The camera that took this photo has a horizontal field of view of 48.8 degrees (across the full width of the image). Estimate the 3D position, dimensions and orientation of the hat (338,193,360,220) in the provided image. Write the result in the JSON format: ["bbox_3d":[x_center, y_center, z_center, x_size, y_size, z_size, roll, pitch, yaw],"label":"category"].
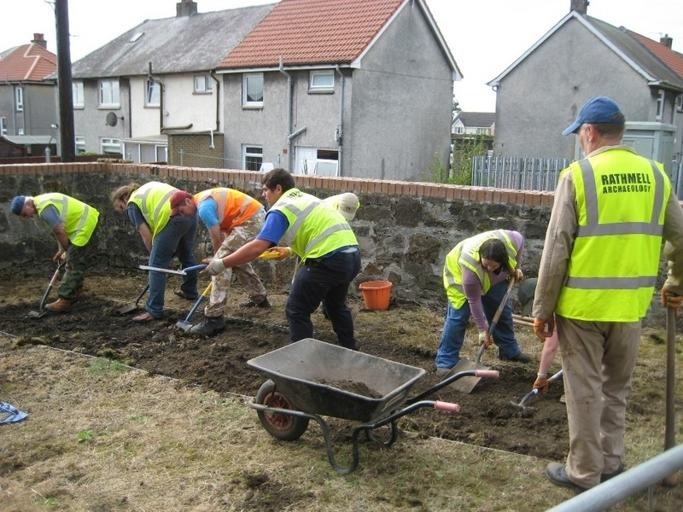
[{"bbox_3d":[0.078,-0.578,8.509,0.273,0.278,0.219,-2,9,-10],"label":"hat"}]

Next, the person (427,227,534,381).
[{"bbox_3d":[1.406,0.501,7.394,0.809,1.433,0.887,-18,32,-21],"label":"person"}]

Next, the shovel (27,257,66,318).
[{"bbox_3d":[-3.529,0.222,9.319,0.382,0.258,1.166,40,13,-26],"label":"shovel"}]

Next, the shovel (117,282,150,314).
[{"bbox_3d":[-2.459,0.592,8.981,0.243,0.089,0.491,13,49,22],"label":"shovel"}]

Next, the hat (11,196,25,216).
[{"bbox_3d":[-3.762,-0.593,8.779,0.136,0.197,0.180,0,6,-23],"label":"hat"}]

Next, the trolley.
[{"bbox_3d":[0.141,1.122,6.153,1.970,0.962,0.968,13,7,29],"label":"trolley"}]

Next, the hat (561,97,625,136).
[{"bbox_3d":[1.899,-1.066,5.695,0.324,0.281,0.518,-5,2,-42],"label":"hat"}]

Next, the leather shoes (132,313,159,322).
[{"bbox_3d":[-2.230,0.697,8.578,0.294,0.135,0.117,7,5,-7],"label":"leather shoes"}]

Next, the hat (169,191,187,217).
[{"bbox_3d":[-1.777,-0.587,8.213,0.151,0.236,0.138,22,-16,49],"label":"hat"}]

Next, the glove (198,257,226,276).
[{"bbox_3d":[-1.206,0.057,7.161,0.199,0.157,0.304,-4,-8,-35],"label":"glove"}]

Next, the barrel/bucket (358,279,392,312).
[{"bbox_3d":[0.404,0.473,9.090,0.363,0.336,0.465,3,5,7],"label":"barrel/bucket"}]

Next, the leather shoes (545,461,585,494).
[{"bbox_3d":[1.647,1.668,5.641,0.105,0.104,0.231,-10,22,-37],"label":"leather shoes"}]

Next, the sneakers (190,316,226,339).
[{"bbox_3d":[-1.441,0.772,8.119,0.333,0.224,0.186,7,5,0],"label":"sneakers"}]

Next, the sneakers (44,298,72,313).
[{"bbox_3d":[-3.379,0.577,8.988,0.294,0.168,0.176,1,5,-18],"label":"sneakers"}]

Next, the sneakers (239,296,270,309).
[{"bbox_3d":[-1.081,0.558,9.097,0.389,0.188,0.137,3,5,8],"label":"sneakers"}]

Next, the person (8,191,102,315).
[{"bbox_3d":[-3.369,-0.044,8.980,0.869,1.405,0.398,0,6,-30],"label":"person"}]
